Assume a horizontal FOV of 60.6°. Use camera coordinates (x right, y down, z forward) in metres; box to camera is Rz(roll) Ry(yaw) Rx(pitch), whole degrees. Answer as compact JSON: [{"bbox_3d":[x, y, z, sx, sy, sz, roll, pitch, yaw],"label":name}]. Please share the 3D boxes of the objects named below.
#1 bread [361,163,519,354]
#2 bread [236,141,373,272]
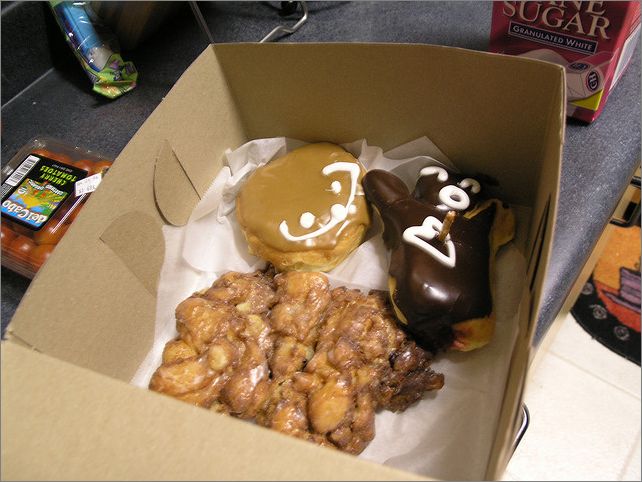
[{"bbox_3d":[0.246,0.016,1.145,0.366,0.136,0.462,10,44,2],"label":"bread"},{"bbox_3d":[-0.032,-0.075,1.256,0.294,0.091,0.295,-19,64,-5],"label":"bread"}]
